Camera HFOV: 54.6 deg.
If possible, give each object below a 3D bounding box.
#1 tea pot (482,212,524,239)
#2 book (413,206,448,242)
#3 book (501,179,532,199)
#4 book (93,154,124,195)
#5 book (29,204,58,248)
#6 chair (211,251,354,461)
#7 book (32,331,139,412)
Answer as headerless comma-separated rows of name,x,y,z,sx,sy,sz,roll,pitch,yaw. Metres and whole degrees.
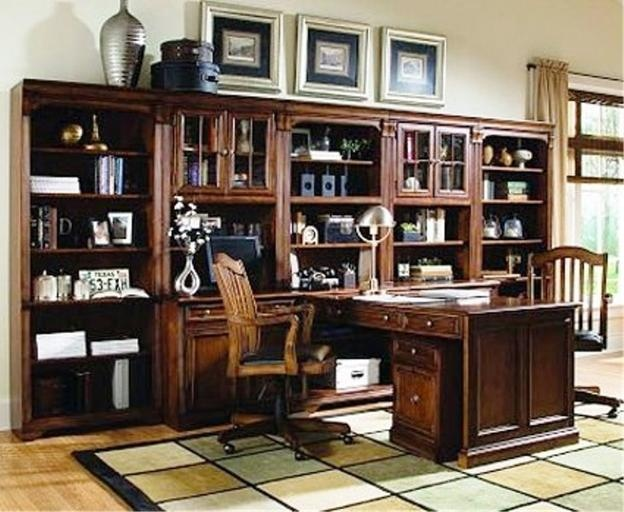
tea pot,1.932,-0.313,6.166,0.429,0.289,0.230,0,3,-3
book,1.120,-0.293,5.697,0.312,0.405,0.303,0,0,-2
book,2.036,-0.655,6.066,0.247,0.163,0.239,-1,5,-8
book,-1.497,-0.590,4.415,0.225,0.256,0.241,5,5,35
book,-1.840,-0.190,4.161,0.250,0.345,0.254,0,0,-19
chair,-0.169,0.624,4.082,0.917,1.170,0.868,0,-3,7
book,-1.624,0.836,4.300,0.587,0.520,0.241,1,-5,-29
